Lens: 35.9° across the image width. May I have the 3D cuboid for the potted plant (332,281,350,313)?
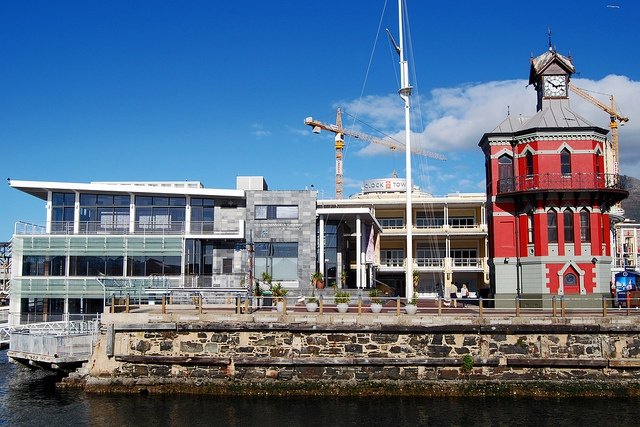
[{"bbox_3d":[1.566,6.500,75.946,1.377,2.044,1.511,1,-12,-3],"label":"potted plant"}]

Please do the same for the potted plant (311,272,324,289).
[{"bbox_3d":[-0.168,5.728,84.419,1.265,1.291,1.125,0,-11,-2],"label":"potted plant"}]
